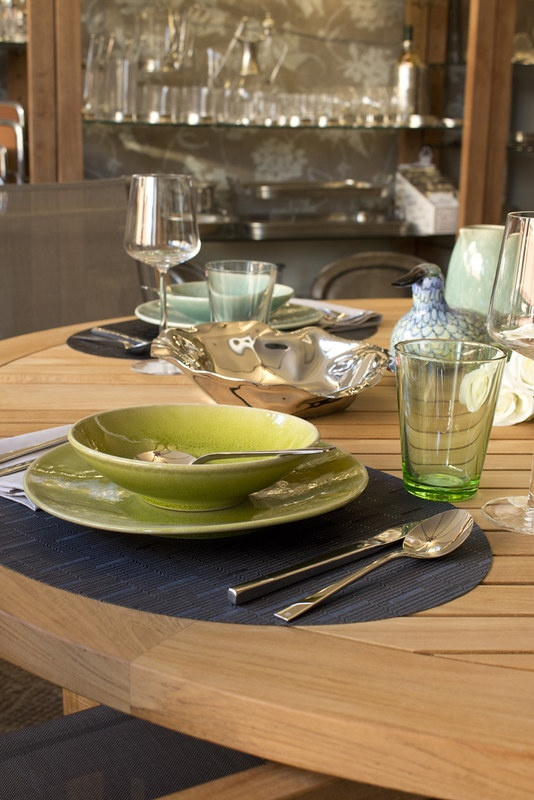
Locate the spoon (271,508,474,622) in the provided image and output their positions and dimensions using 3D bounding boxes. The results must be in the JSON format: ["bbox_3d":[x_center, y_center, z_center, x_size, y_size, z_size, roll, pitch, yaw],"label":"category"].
[{"bbox_3d":[0.070,0.067,0.384,0.036,0.021,0.184,10,16,41],"label":"spoon"}]

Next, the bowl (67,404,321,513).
[{"bbox_3d":[-0.053,0.015,0.405,0.087,0.023,0.091,3,10,-1],"label":"bowl"}]

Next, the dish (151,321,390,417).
[{"bbox_3d":[-0.008,-0.035,0.658,0.144,0.029,0.133,-3,18,-25],"label":"dish"}]

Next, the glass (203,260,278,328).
[{"bbox_3d":[-0.030,-0.130,0.859,0.090,0.083,0.088,1,11,-2],"label":"glass"}]

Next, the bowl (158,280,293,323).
[{"bbox_3d":[-0.063,-0.134,0.960,0.111,0.024,0.098,4,21,8],"label":"bowl"}]
